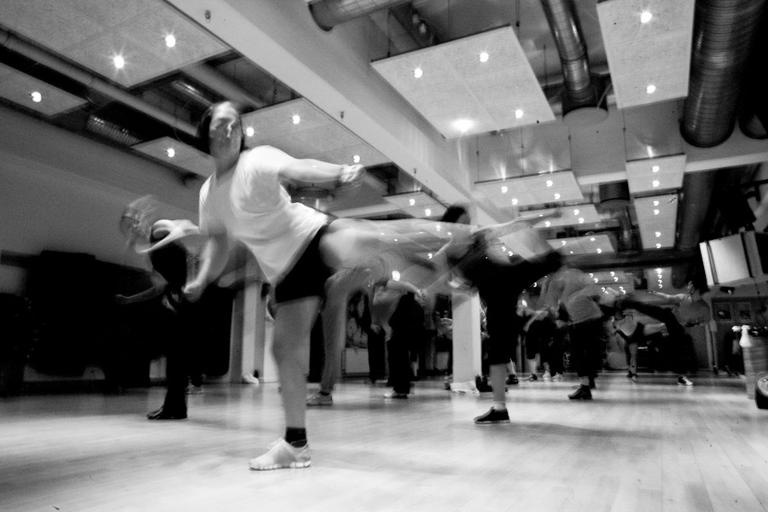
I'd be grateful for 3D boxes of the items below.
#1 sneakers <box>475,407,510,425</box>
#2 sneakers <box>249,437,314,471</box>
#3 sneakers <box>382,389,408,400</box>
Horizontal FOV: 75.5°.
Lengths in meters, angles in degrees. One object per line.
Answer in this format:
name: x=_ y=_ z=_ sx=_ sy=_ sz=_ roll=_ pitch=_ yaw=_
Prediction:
sneakers: x=0.958 y=1.427 z=4.384 sx=0.290 sy=0.106 sz=0.135 roll=1 pitch=-14 yaw=0
sneakers: x=-0.588 y=1.160 z=2.878 sx=0.329 sy=0.134 sz=0.152 roll=2 pitch=-17 yaw=-6
sneakers: x=0.152 y=1.845 z=6.529 sx=0.333 sy=0.138 sz=0.125 roll=8 pitch=-22 yaw=-2
